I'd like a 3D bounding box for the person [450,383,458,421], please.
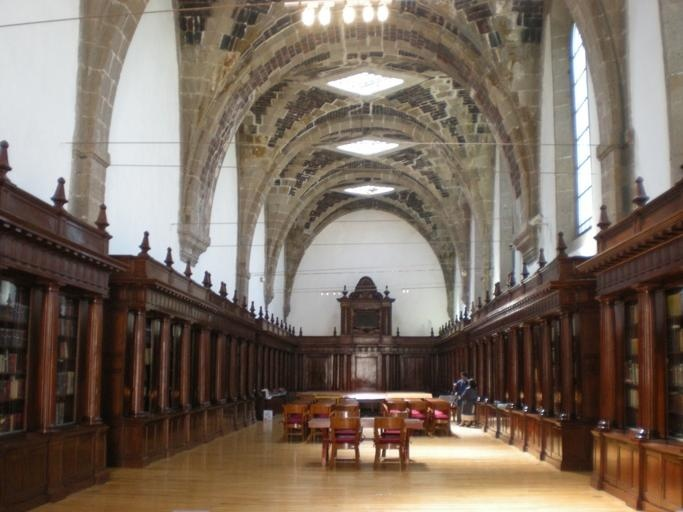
[{"bbox_3d":[4.478,5.865,26.100,0.261,1.882,0.643,3,-5,-1],"label":"person"}]
